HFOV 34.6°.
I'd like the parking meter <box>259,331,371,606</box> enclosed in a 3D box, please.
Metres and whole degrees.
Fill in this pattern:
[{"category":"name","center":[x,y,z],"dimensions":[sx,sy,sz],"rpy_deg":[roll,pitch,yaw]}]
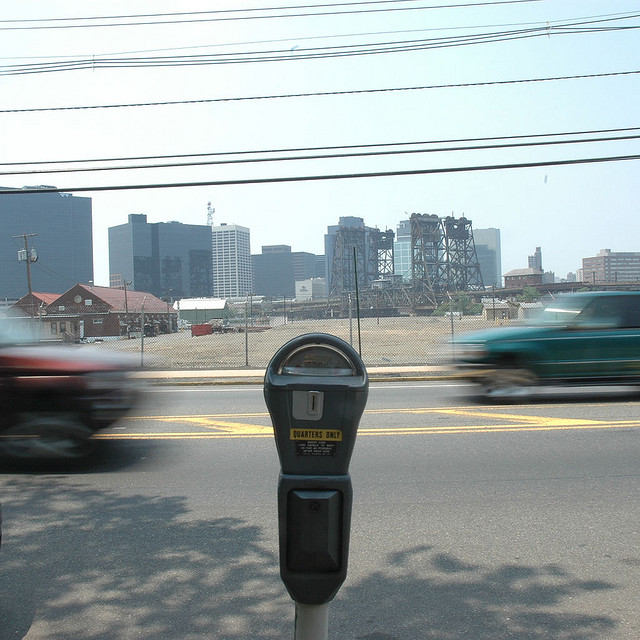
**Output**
[{"category":"parking meter","center":[-0.031,0.929,4.635],"dimensions":[0.485,1.725,0.429],"rpy_deg":[1,-4,-1]}]
